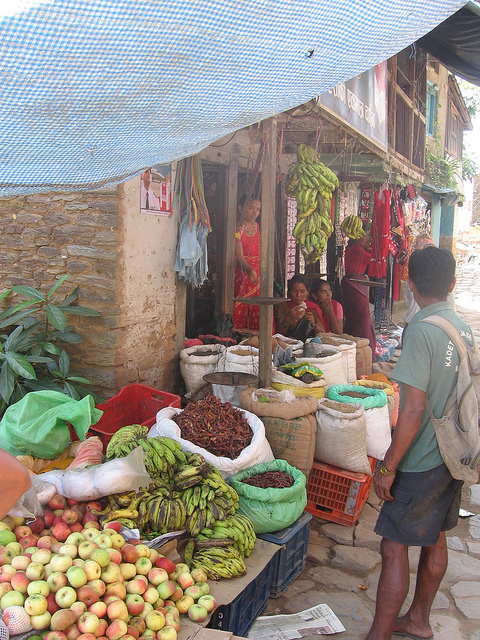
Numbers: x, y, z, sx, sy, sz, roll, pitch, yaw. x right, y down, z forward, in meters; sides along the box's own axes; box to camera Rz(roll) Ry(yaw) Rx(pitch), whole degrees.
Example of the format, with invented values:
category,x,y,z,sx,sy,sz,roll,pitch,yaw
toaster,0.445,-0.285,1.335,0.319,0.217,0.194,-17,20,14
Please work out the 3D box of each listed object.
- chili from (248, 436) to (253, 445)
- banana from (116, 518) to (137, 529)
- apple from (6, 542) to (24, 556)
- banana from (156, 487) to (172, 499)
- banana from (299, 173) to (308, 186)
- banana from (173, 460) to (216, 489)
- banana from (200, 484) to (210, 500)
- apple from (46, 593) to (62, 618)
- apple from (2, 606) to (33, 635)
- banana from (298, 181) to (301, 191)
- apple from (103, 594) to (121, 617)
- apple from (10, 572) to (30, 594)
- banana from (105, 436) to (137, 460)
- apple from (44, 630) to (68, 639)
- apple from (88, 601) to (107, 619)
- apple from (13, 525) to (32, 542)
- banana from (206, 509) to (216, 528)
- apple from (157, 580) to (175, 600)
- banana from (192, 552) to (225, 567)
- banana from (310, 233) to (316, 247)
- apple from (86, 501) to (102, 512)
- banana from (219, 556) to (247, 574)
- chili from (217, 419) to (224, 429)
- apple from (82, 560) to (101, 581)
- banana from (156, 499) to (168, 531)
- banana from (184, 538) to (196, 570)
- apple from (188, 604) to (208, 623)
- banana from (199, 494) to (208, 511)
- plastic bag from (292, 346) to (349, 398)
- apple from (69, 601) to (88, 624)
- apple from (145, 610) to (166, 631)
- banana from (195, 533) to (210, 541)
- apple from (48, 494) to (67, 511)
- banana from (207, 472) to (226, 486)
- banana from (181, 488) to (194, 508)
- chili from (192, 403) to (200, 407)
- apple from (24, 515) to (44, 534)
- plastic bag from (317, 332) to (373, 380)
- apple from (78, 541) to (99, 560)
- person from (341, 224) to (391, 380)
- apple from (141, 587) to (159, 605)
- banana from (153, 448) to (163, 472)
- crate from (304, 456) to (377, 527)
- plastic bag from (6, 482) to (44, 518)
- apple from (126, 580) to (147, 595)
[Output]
category,x,y,z,sx,sy,sz,roll,pitch,yaw
chili,0.068,0.748,2.981,0.014,0.039,0.028,9,1,-25
banana,-0.513,0.924,2.182,0.080,0.026,0.043,35,10,-18
apple,-0.861,0.876,1.842,0.051,0.050,0.051,9,-24,-7
banana,-0.370,0.855,2.386,0.056,0.022,0.044,30,23,12
banana,0.596,-1.309,4.444,0.033,0.142,0.036,-10,-16,-9
banana,-0.240,0.816,2.521,0.186,0.099,0.069,-12,24,37
banana,-0.178,0.879,2.470,0.031,0.019,0.057,4,29,6
apple,-0.641,0.975,1.638,0.047,0.046,0.056,-16,54,-25
apple,-0.717,0.974,1.546,0.084,0.084,0.043,-3,-2,-26
banana,0.564,-1.266,4.489,0.023,0.086,0.017,3,-17,-2
apple,-0.467,1.037,1.749,0.044,0.052,0.043,-8,17,-38
apple,-0.759,0.905,1.656,0.054,0.055,0.057,-11,44,-14
banana,-0.641,0.674,2.565,0.134,0.038,0.089,-17,29,-34
apple,-0.600,1.030,1.562,0.068,0.026,0.041,-4,-2,7
apple,-0.495,1.015,1.684,0.053,0.054,0.065,-9,-34,40
apple,-0.888,0.876,1.964,0.046,0.045,0.054,-3,-6,-13
banana,-0.142,0.985,2.372,0.023,0.025,0.077,15,46,-8
apple,-0.303,1.129,2.002,0.078,0.075,0.047,-3,-2,-25
banana,-0.138,1.119,2.236,0.153,0.041,0.032,18,12,33
banana,0.701,-0.778,4.528,0.018,0.076,0.044,-5,3,-31
apple,-0.677,0.868,2.245,0.045,0.042,0.044,11,9,-3
banana,-0.035,1.145,2.254,0.144,0.048,0.043,31,-10,-16
chili,-0.123,0.645,2.989,0.015,0.021,0.083,17,12,-35
apple,-0.543,0.917,1.759,0.060,0.061,0.060,21,-26,17
banana,-0.357,0.928,2.281,0.036,0.132,0.043,6,-24,5
banana,-0.234,1.112,2.290,0.032,0.119,0.042,-17,-36,24
apple,-0.166,1.203,1.981,0.059,0.055,0.058,3,-9,-18
banana,-0.185,0.925,2.418,0.028,0.048,0.014,15,-27,-13
plastic bag,0.747,0.450,4.382,0.434,0.337,0.897,-4,-2,12
apple,-0.550,1.006,1.668,0.054,0.057,0.054,25,39,8
apple,-0.317,1.127,1.795,0.049,0.047,0.049,-4,-19,1
banana,-0.184,1.069,2.358,0.017,0.020,0.070,7,14,-44
apple,-0.831,0.834,2.190,0.058,0.052,0.057,2,24,-20
banana,-0.137,0.830,2.546,0.035,0.045,0.169,11,2,-35
banana,-0.261,0.914,2.475,0.029,0.108,0.036,-16,-50,34
chili,-0.294,0.553,3.115,0.010,0.011,0.043,3,9,-34
apple,-0.874,0.872,2.057,0.063,0.068,0.069,-34,-41,28
plastic bag,1.186,0.408,5.649,0.547,0.742,0.649,0,-2,6
apple,-0.581,0.880,1.852,0.056,0.055,0.055,-38,14,-19
person,1.840,-0.322,7.203,0.774,2.444,0.808,-22,32,-18
apple,-0.354,1.092,1.902,0.049,0.057,0.048,-11,16,-25
banana,-0.417,0.715,2.448,0.032,0.106,0.031,-8,-15,-22
crate,0.681,1.222,3.648,0.593,0.275,0.583,-1,14,-41
plastic bag,-0.914,0.797,2.083,0.099,0.136,0.205,-4,-2,8
apple,-0.403,1.043,1.874,0.059,0.055,0.055,7,4,15
